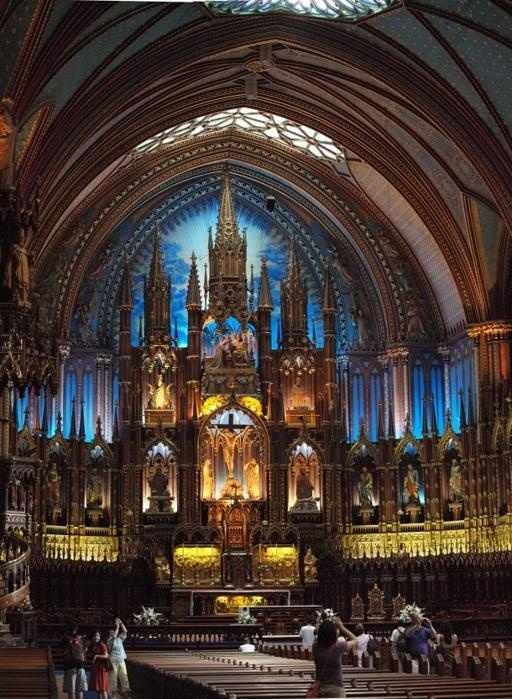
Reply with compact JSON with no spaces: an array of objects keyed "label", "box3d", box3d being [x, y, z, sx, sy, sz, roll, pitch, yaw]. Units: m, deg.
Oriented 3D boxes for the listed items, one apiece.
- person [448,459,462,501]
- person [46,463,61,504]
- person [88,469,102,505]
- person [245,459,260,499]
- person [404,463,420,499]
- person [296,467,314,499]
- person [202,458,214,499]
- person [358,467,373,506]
[{"label":"person","box3d":[5.456,3.604,30.746,0.189,1.206,0.651,2,-14,-13]},{"label":"person","box3d":[-5.471,3.648,30.330,0.169,1.202,0.669,-4,-14,15]},{"label":"person","box3d":[-4.526,3.928,31.419,0.439,1.057,0.216,3,-14,-14]},{"label":"person","box3d":[-0.100,3.698,32.002,0.446,1.185,0.249,-1,-13,0]},{"label":"person","box3d":[4.413,3.813,31.922,0.427,1.096,0.243,-4,-14,13]},{"label":"person","box3d":[1.375,3.860,32.074,0.476,0.922,0.213,-1,-13,1]},{"label":"person","box3d":[-1.377,3.701,31.833,0.269,1.186,0.347,-4,-14,13]},{"label":"person","box3d":[3.170,4.004,32.404,0.445,1.195,0.257,-2,-13,6]}]
